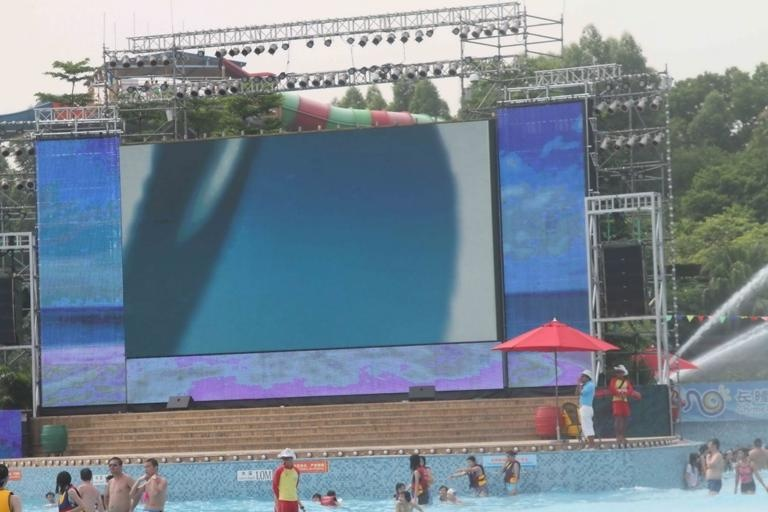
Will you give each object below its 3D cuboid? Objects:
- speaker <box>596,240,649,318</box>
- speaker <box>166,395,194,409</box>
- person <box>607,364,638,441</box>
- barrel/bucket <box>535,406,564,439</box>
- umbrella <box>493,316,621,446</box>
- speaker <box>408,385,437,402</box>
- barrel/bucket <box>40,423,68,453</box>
[{"bbox_3d":[11.117,1.183,104.065,1.979,3.410,0.510,-1,2,13],"label":"speaker"},{"bbox_3d":[-9.820,7.162,106.883,1.203,0.647,0.781,-2,2,0],"label":"speaker"},{"bbox_3d":[10.651,6.748,100.893,1.336,3.369,1.085,1,6,10],"label":"person"},{"bbox_3d":[7.357,7.785,101.727,1.486,1.284,1.410,-1,-10,0],"label":"barrel/bucket"},{"bbox_3d":[8.028,5.930,102.826,5.996,4.861,5.618,-1,-9,-4],"label":"umbrella"},{"bbox_3d":[1.707,6.670,105.883,1.289,0.756,0.662,0,-15,2],"label":"speaker"},{"bbox_3d":[-15.570,8.826,105.336,1.373,1.198,1.340,-2,-6,0],"label":"barrel/bucket"}]
